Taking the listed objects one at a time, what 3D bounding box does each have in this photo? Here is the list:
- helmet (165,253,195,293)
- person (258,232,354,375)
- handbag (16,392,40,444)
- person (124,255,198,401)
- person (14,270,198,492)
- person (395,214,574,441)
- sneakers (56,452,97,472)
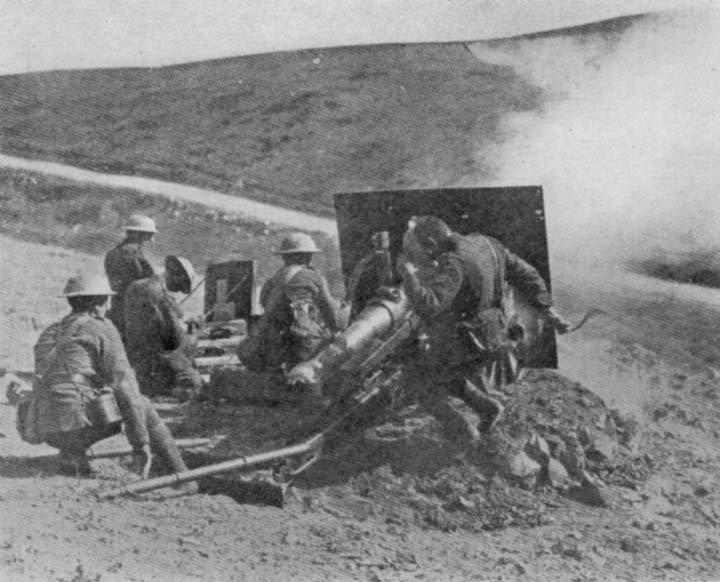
[{"bbox_3d":[-1.348,-0.124,11.228,0.234,0.255,0.078,17,-18,-27],"label":"helmet"},{"bbox_3d":[-0.410,0.093,11.170,0.661,0.959,0.380,3,12,-3],"label":"person"},{"bbox_3d":[-2.447,0.951,11.117,0.236,0.347,0.076,4,1,41],"label":"handbag"},{"bbox_3d":[-1.446,0.274,10.924,0.508,0.842,0.312,-16,-7,-15],"label":"person"},{"bbox_3d":[-1.944,0.623,11.075,1.273,1.379,0.450,8,13,19],"label":"person"},{"bbox_3d":[0.871,0.307,11.269,1.104,1.333,0.469,-22,12,0],"label":"person"},{"bbox_3d":[-2.063,1.267,10.978,0.199,0.155,0.050,4,8,4],"label":"sneakers"}]
